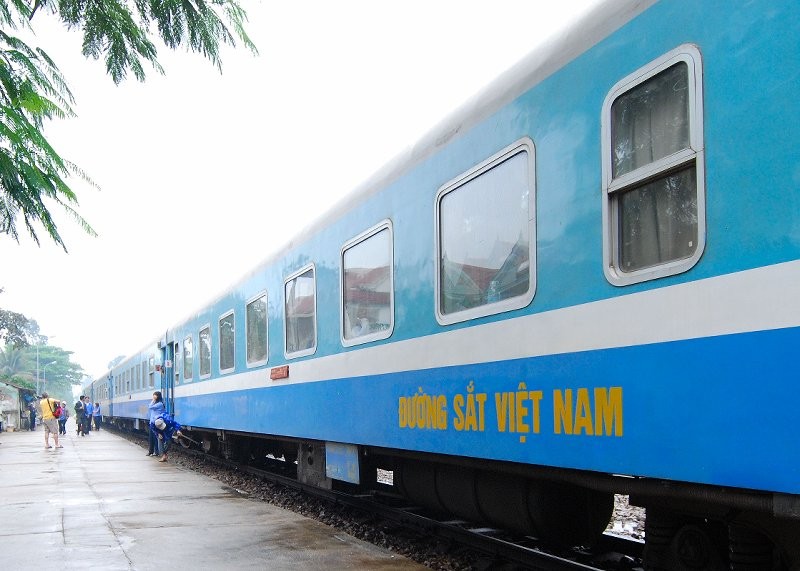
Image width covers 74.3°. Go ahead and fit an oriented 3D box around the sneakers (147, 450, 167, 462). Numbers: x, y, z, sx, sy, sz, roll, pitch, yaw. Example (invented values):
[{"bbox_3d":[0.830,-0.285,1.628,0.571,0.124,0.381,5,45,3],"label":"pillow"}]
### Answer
[{"bbox_3d":[-6.509,4.650,14.190,0.165,0.259,0.567,-12,-28,33],"label":"sneakers"}]
